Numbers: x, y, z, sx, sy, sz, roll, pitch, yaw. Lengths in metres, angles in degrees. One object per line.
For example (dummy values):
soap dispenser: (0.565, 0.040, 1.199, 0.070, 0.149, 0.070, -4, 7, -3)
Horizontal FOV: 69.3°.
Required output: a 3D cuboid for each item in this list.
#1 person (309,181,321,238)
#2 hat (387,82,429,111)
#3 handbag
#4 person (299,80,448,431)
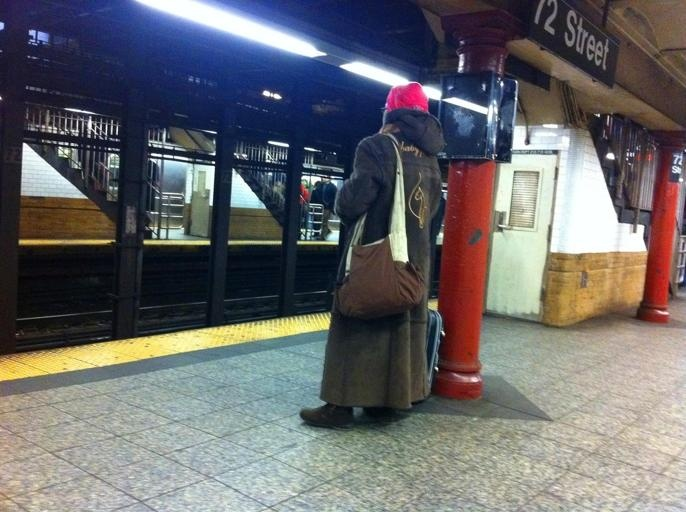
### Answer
person: (-0.979, -1.801, 18.986, 0.462, 2.104, 0.857, 0, 6, -9)
hat: (0.564, -1.408, 4.355, 0.335, 0.285, 0.242, 2, 18, 0)
handbag: (0.281, 0.171, 3.897, 0.612, 0.579, 0.294, -4, -28, 1)
person: (0.348, -0.028, 4.120, 1.025, 2.932, 0.737, -1, 8, -44)
